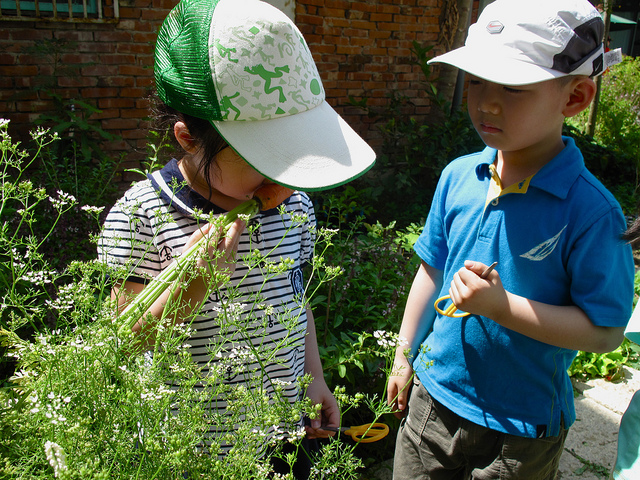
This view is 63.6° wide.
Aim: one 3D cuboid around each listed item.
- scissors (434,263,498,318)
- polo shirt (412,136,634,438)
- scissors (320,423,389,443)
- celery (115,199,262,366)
[{"bbox_3d":[0.517,0.165,1.907,0.134,0.255,0.030,38,-19,-10],"label":"scissors"},{"bbox_3d":[0.642,0.132,2.029,0.679,1.234,0.976,7,14,21],"label":"polo shirt"},{"bbox_3d":[0.113,0.547,1.488,0.176,0.019,0.107,-7,6,36],"label":"scissors"},{"bbox_3d":[-0.262,-0.012,1.351,0.162,0.641,0.139,30,-21,15],"label":"celery"}]
